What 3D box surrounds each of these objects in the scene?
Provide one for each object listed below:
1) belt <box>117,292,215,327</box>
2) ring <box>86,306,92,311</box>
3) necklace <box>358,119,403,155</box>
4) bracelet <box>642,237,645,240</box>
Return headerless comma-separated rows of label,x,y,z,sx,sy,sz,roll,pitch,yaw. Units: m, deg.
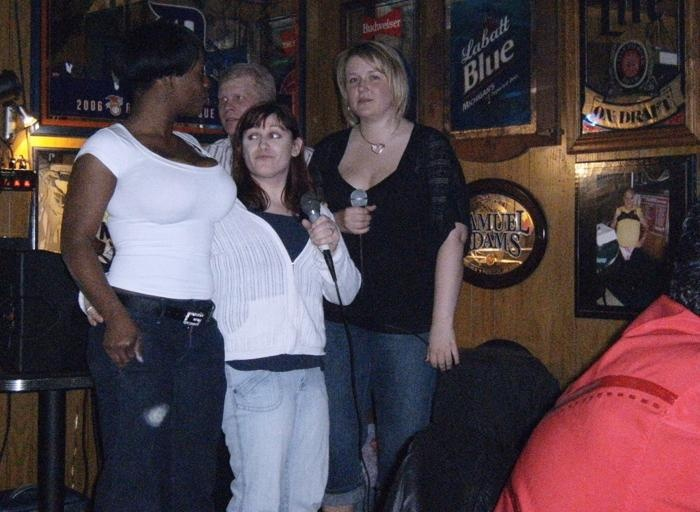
belt,-0.592,0.174,2.231,0.301,0.124,0.047,-1,3,-21
ring,-0.845,0.172,2.241,0.017,0.015,0.019,-10,-8,-1
necklace,0.125,-0.447,2.660,0.164,0.134,0.052,-3,-3,14
bracelet,1.427,-0.078,3.347,0.018,0.017,0.003,1,3,21
